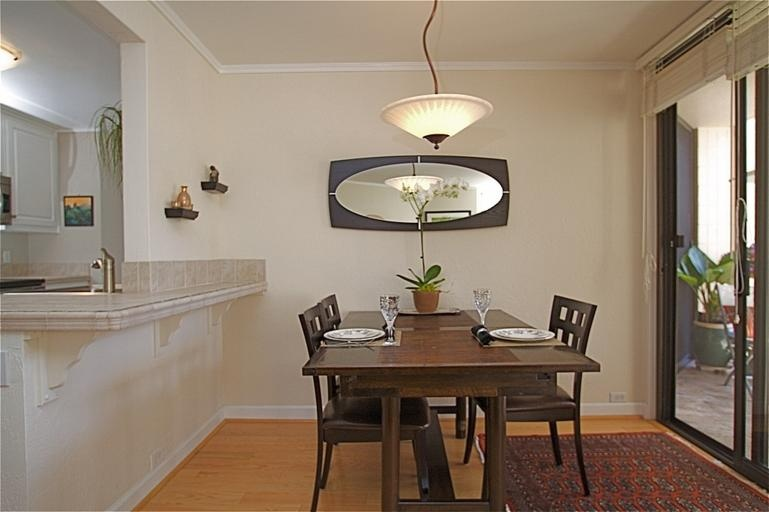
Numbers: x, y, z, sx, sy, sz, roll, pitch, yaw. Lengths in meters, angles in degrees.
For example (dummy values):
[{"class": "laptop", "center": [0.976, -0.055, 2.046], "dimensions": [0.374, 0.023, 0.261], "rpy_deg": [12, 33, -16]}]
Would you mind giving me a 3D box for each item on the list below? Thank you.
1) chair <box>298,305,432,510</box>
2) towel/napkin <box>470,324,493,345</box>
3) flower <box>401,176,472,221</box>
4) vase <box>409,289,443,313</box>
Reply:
[{"class": "chair", "center": [-0.116, 0.976, 4.212], "dimensions": [1.215, 1.698, 1.237], "rpy_deg": [-1, 0, 3]}, {"class": "towel/napkin", "center": [0.610, 0.501, 3.414], "dimensions": [0.096, 0.062, 0.162], "rpy_deg": [2, 2, -1]}, {"class": "flower", "center": [0.412, -0.494, 4.672], "dimensions": [0.614, 0.315, 0.310], "rpy_deg": [-9, 8, -30]}, {"class": "vase", "center": [0.338, 0.361, 4.297], "dimensions": [0.196, 0.132, 0.181], "rpy_deg": [-1, -6, -1]}]
